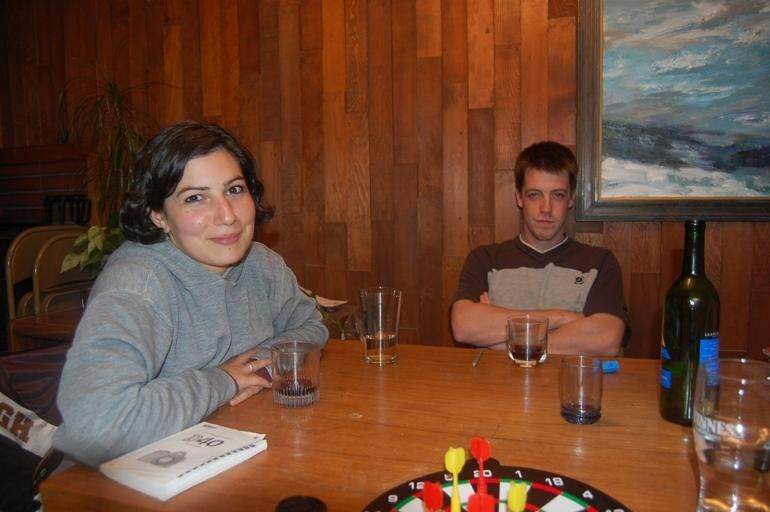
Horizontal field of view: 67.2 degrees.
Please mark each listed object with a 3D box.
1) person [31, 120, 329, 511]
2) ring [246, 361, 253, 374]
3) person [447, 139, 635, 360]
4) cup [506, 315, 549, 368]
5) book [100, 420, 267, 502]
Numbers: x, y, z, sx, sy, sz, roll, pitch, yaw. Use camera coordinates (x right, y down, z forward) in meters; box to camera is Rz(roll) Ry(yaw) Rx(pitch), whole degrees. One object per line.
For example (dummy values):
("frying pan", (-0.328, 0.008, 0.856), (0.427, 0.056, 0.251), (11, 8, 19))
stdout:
("person", (-0.670, 0.083, 1.987), (0.727, 0.905, 1.209), (11, 17, 20))
("ring", (-0.453, 0.368, 1.919), (0.012, 0.027, 0.026), (-8, -4, 34))
("person", (0.744, 0.027, 2.857), (0.865, 1.071, 0.637), (0, 11, 9))
("cup", (0.509, 0.305, 2.093), (0.144, 0.170, 0.204), (1, 3, 8))
("book", (-0.531, 0.541, 1.570), (0.324, 0.043, 0.325), (-3, 6, 35))
